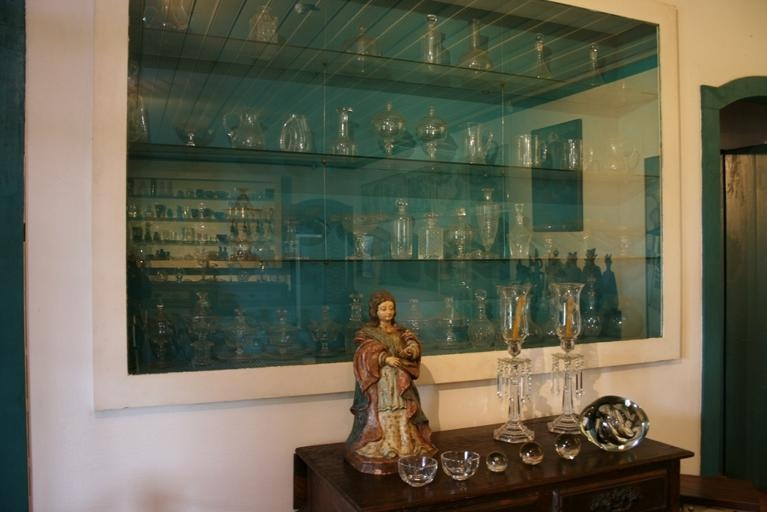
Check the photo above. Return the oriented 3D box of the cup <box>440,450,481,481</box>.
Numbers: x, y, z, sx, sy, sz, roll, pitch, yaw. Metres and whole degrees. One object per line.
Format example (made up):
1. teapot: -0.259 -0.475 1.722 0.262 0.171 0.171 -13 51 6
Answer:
1. cup: 0.348 0.923 2.928 0.167 0.122 0.197 -4 -1 7

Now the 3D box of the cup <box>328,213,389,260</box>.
1. cup: -0.136 -0.110 3.309 0.335 0.240 0.336 3 -2 0

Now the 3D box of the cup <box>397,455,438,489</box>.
1. cup: 0.152 0.945 2.868 0.184 0.109 0.188 3 -8 0

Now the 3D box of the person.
1. person: 0.039 0.542 2.973 0.405 0.736 0.387 -2 3 -9
